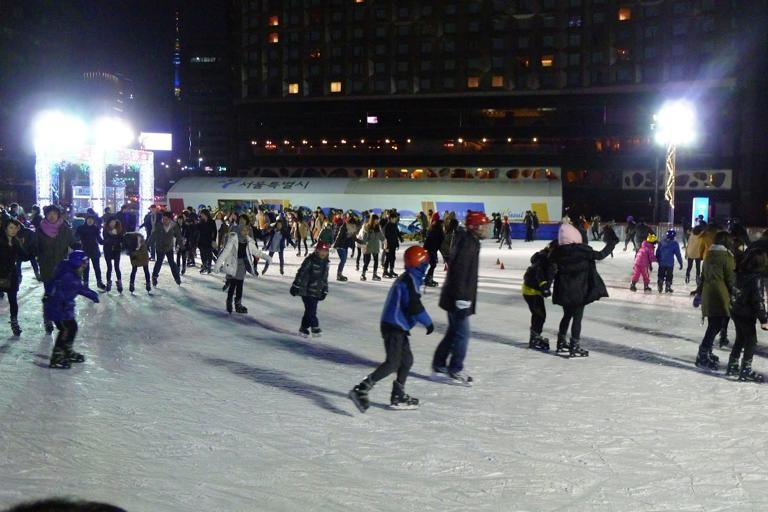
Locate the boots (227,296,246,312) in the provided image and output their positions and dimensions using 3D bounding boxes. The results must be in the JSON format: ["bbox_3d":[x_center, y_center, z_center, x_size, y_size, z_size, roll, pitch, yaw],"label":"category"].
[{"bbox_3d":[-3.155,1.040,14.635,0.452,0.286,0.566,2,5,-5],"label":"boots"}]

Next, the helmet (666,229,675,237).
[{"bbox_3d":[7.398,-0.635,17.520,0.202,0.230,0.253,0,-26,25],"label":"helmet"}]

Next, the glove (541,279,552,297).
[{"bbox_3d":[2.626,0.506,11.045,0.161,0.272,0.235,-8,14,-22],"label":"glove"}]

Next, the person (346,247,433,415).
[{"bbox_3d":[0.168,0.939,8.845,0.692,2.153,1.037,7,7,42],"label":"person"}]

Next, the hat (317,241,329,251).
[{"bbox_3d":[-1.125,-0.187,12.457,0.213,0.171,0.283,2,5,-1],"label":"hat"}]

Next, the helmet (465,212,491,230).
[{"bbox_3d":[1.392,-0.521,10.024,0.310,0.237,0.232,-13,14,-4],"label":"helmet"}]

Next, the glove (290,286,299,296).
[{"bbox_3d":[-1.616,0.630,12.312,0.152,0.155,0.150,4,9,-2],"label":"glove"}]

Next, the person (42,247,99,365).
[{"bbox_3d":[-4.776,0.792,10.316,0.742,1.751,0.524,1,5,-17],"label":"person"}]

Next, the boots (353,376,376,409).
[{"bbox_3d":[-0.294,1.778,8.754,0.297,0.455,0.131,2,5,-8],"label":"boots"}]

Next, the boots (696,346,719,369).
[{"bbox_3d":[5.073,1.612,10.678,0.521,0.342,0.185,-1,4,-1],"label":"boots"}]

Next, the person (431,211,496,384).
[{"bbox_3d":[1.114,0.573,9.983,0.687,2.456,0.658,3,5,5],"label":"person"}]

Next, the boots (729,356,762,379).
[{"bbox_3d":[5.388,1.675,10.140,0.512,0.316,0.280,5,6,29],"label":"boots"}]

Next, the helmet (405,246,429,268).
[{"bbox_3d":[0.395,-0.033,8.874,0.309,0.237,0.232,-25,33,5],"label":"helmet"}]

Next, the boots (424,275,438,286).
[{"bbox_3d":[1.333,0.703,19.247,0.231,0.424,0.453,-8,-10,-19],"label":"boots"}]

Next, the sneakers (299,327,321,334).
[{"bbox_3d":[-1.334,1.370,12.491,0.416,0.171,0.140,-3,-5,19],"label":"sneakers"}]
